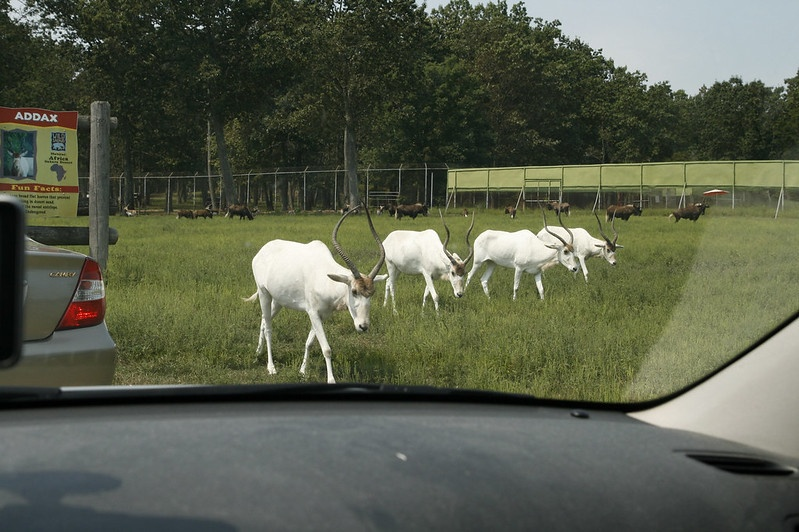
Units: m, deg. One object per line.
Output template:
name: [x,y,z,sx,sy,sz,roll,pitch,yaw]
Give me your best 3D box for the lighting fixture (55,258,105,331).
lighting fixture: [-3.115,0.259,10.070,0.431,0.596,0.640,9,25,-10]
